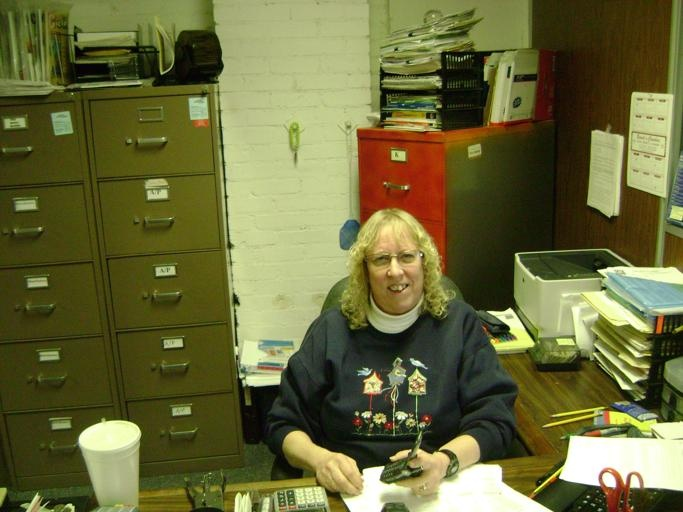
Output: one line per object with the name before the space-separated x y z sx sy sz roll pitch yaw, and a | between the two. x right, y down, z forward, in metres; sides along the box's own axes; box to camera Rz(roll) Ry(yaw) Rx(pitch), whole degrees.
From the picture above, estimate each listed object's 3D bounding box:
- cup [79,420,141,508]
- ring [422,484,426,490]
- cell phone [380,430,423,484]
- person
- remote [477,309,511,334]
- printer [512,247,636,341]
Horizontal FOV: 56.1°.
cup | -0.627 0.582 1.777 0.154 0.229 0.110 -9 19 -10
ring | 0.240 0.670 1.846 0.014 0.017 0.003 -3 18 6
cell phone | 0.166 0.568 1.826 0.122 0.196 0.111 -4 19 5
person | 0.155 0.338 2.094 0.747 0.838 0.646 -19 23 -35
remote | 0.637 0.281 2.721 0.086 0.029 0.118 -6 21 -21
printer | 0.986 0.130 2.723 0.373 0.250 0.377 -3 15 -2
